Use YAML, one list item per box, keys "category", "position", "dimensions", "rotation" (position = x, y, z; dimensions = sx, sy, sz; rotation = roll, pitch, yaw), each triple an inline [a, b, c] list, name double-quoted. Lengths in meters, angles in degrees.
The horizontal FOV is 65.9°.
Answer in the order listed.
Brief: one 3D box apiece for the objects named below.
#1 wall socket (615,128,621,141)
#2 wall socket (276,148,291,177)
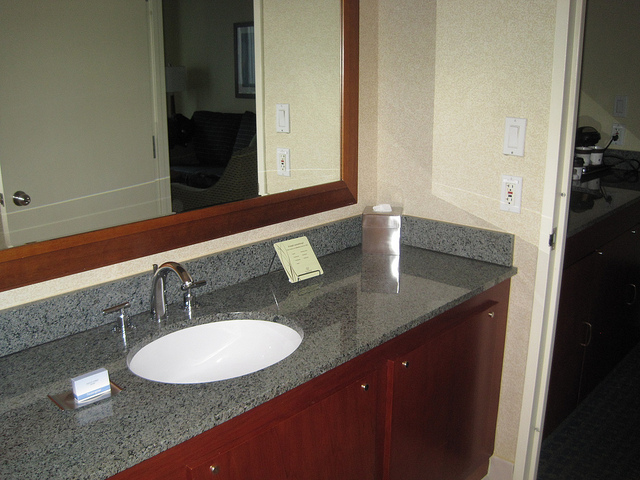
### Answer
- category: "wall socket"
  position: [2.125, -0.762, 3.546]
  dimensions: [0.034, 0.081, 0.025]
  rotation: [11, 26, 30]
- category: "wall socket"
  position: [-0.153, -0.332, 2.109]
  dimensions: [0.079, 0.127, 0.019]
  rotation: [-21, 28, -38]
